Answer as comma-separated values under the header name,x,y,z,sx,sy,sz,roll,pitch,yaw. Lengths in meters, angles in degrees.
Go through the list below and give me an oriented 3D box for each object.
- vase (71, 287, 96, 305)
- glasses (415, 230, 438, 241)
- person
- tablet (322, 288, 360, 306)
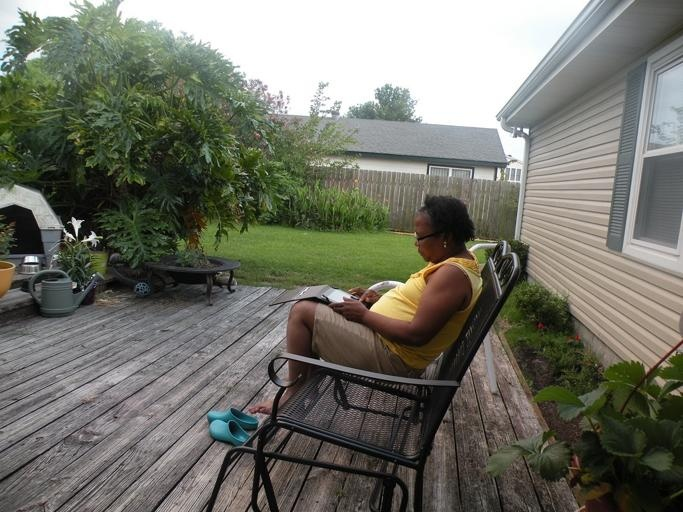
name,x,y,z,sx,sy,sz,roll,pitch,yaw
vase,-2.920,0.450,4.303,0.199,0.148,0.199,-1,2,1
glasses,0.441,-0.103,1.940,0.101,0.050,0.014,5,10,24
person,0.120,0.297,2.177,1.198,1.327,0.735,8,0,10
tablet,-0.029,0.226,2.146,0.117,0.027,0.111,1,23,-36
